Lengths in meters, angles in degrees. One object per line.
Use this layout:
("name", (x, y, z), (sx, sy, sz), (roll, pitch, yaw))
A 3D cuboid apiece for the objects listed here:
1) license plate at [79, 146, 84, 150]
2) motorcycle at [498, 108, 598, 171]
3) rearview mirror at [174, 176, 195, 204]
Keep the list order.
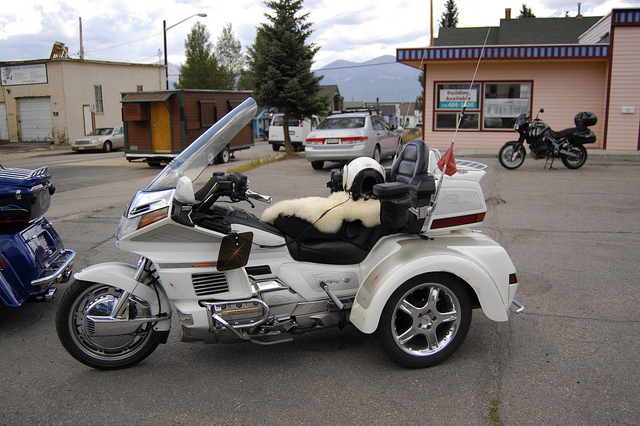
("license plate", (-13.976, -3.818, 28.855), (0.250, 0.140, 0.171), (-3, -1, -10))
("motorcycle", (7.040, -2.240, 15.235), (2.674, 1.725, 1.313), (4, 5, 17))
("rearview mirror", (-1.321, -0.239, 4.753), (0.188, 0.307, 0.329), (0, 9, -27))
